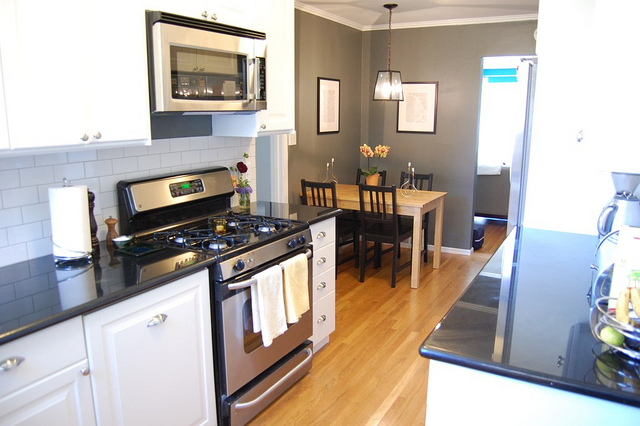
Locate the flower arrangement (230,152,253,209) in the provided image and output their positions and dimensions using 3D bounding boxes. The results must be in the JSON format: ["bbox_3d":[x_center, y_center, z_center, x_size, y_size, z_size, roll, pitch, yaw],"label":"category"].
[{"bbox_3d":[-0.631,-0.246,3.805,0.173,0.419,0.150,-2,3,-14],"label":"flower arrangement"}]

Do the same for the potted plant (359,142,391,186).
[{"bbox_3d":[0.646,-0.573,5.821,0.388,0.533,0.238,-3,12,-17],"label":"potted plant"}]

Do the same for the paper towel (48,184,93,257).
[{"bbox_3d":[-1.418,0.052,2.685,0.216,0.399,0.099,-9,15,-27],"label":"paper towel"}]

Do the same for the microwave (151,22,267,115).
[{"bbox_3d":[-0.795,-0.954,3.187,0.486,0.523,0.904,12,17,35],"label":"microwave"}]

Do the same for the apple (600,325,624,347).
[{"bbox_3d":[1.211,0.520,1.982,0.073,0.087,0.073,-31,26,49],"label":"apple"}]

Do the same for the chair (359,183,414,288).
[{"bbox_3d":[0.784,0.227,5.150,0.667,1.017,0.526,13,14,40],"label":"chair"}]

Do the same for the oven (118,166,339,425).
[{"bbox_3d":[-0.606,0.567,3.024,1.038,1.556,1.470,7,14,32],"label":"oven"}]

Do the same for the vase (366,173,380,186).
[{"bbox_3d":[0.633,-0.401,5.628,0.153,0.113,0.153,2,6,26],"label":"vase"}]

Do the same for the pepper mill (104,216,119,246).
[{"bbox_3d":[-1.325,0.112,3.005,0.079,0.162,0.149,-3,13,-5],"label":"pepper mill"}]
